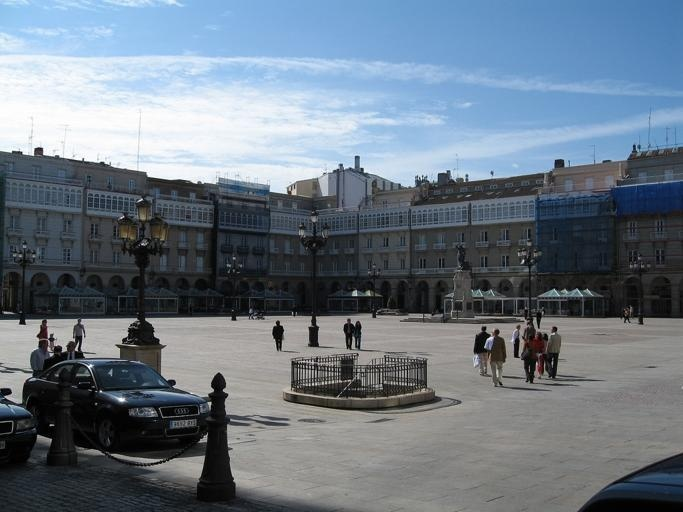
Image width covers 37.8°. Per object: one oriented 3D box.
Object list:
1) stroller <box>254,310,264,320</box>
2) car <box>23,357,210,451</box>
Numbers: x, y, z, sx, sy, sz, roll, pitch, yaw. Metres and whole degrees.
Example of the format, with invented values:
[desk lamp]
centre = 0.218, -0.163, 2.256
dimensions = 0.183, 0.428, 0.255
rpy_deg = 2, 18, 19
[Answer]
[stroller]
centre = -6.458, 4.643, 78.016
dimensions = 0.500, 0.667, 0.665
rpy_deg = 1, -15, -4
[car]
centre = -5.815, 3.591, 25.290
dimensions = 2.611, 1.909, 5.890
rpy_deg = 3, -3, -43
